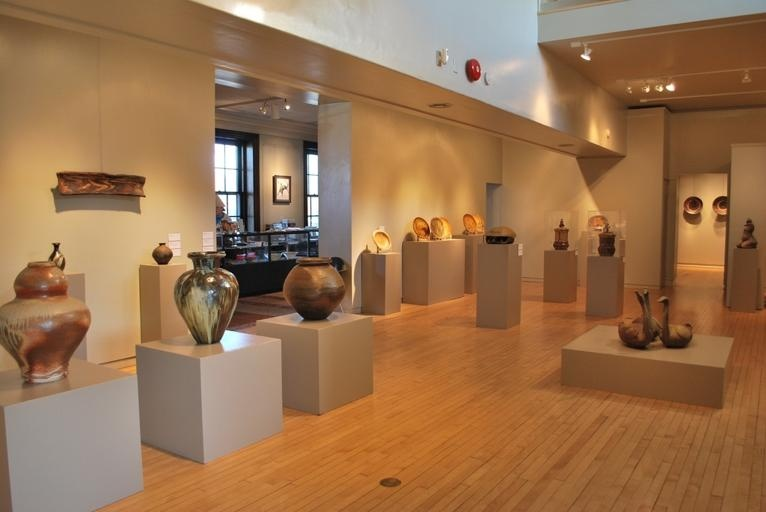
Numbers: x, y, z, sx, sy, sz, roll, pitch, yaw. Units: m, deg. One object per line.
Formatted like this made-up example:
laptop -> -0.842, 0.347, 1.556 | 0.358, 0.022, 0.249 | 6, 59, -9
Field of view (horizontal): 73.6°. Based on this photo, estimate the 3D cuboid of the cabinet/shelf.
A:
cabinet/shelf -> -2.729, 0.146, 11.500 | 1.086, 1.376, 2.926 | 8, 8, 37

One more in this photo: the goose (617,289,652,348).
goose -> 3.060, 0.737, 6.150 | 0.400, 0.704, 0.439 | 7, 10, 40

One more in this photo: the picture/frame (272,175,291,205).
picture/frame -> -3.134, -2.022, 15.678 | 0.145, 0.890, 0.788 | 4, 8, 28

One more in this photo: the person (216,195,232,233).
person -> -3.548, -0.940, 11.315 | 0.310, 0.713, 0.869 | -2, 8, -17

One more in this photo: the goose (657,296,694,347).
goose -> 3.568, 0.781, 6.210 | 0.362, 0.608, 0.761 | 5, 9, 32
